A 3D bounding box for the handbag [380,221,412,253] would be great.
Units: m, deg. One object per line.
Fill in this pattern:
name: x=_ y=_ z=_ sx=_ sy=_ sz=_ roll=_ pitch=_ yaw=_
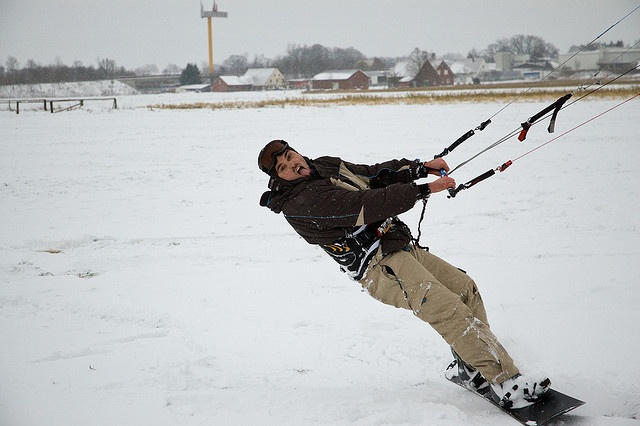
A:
handbag: x=1.033 y=0.343 z=8.593 sx=0.416 sy=0.184 sz=0.419 roll=9 pitch=35 yaw=9
